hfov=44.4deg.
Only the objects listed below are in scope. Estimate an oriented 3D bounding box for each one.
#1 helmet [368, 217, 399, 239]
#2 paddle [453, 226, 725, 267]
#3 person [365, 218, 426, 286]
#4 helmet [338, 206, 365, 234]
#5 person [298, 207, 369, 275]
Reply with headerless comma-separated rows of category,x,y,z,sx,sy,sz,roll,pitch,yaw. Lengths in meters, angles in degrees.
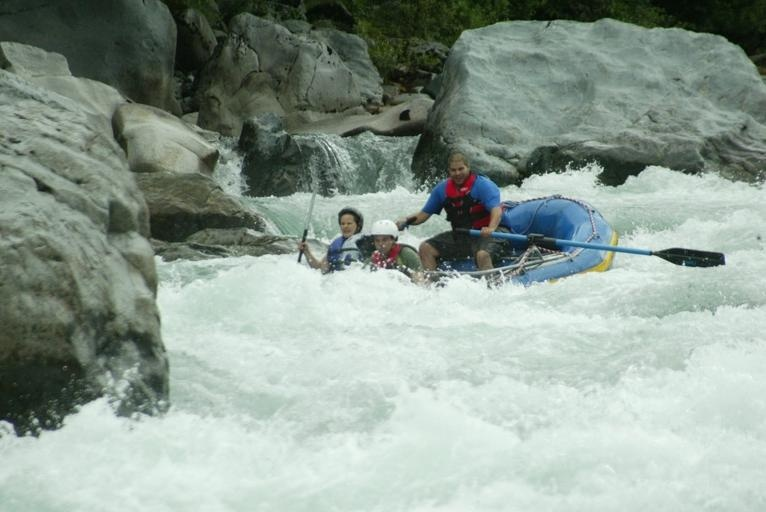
helmet,0.044,-0.366,12.394,0.231,0.236,0.326,7,18,16
paddle,2.739,-0.118,12.964,3.324,0.223,0.263,5,23,26
person,0.136,-0.045,12.568,0.747,0.563,1.135,20,-17,10
helmet,-0.462,-0.548,12.555,0.297,0.354,0.366,2,42,8
person,-0.549,-0.195,12.237,0.573,0.834,0.661,5,10,-3
